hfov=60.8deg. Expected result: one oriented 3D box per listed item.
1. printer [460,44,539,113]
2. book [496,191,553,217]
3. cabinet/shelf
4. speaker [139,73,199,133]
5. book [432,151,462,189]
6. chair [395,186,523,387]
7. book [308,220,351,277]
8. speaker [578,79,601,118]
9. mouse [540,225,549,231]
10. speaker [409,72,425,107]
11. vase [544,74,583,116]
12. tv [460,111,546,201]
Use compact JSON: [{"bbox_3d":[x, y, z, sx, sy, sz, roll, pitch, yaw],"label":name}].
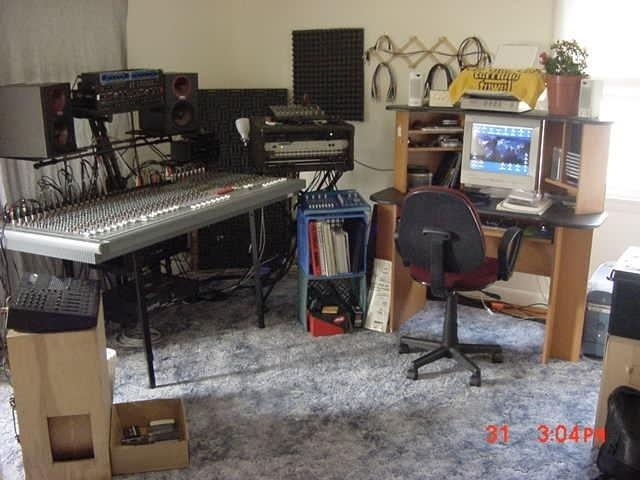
[{"bbox_3d":[1.342,-1.204,4.004,0.648,0.465,0.484,17,32,39],"label":"printer"},{"bbox_3d":[1.452,-0.268,3.877,0.258,0.071,0.250,11,33,32],"label":"book"},{"bbox_3d":[1.242,-0.100,4.144,1.582,1.669,0.891,8,13,26],"label":"cabinet/shelf"},{"bbox_3d":[-1.221,-1.140,4.479,0.406,0.462,0.431,7,20,11],"label":"speaker"},{"bbox_3d":[1.037,-0.572,4.412,0.060,0.260,0.251,12,12,-22],"label":"book"},{"bbox_3d":[0.951,0.282,3.827,0.823,1.300,0.795,2,13,17],"label":"chair"},{"bbox_3d":[0.075,0.060,4.252,0.330,0.425,0.159,-1,14,-3],"label":"book"},{"bbox_3d":[1.817,-0.957,3.666,0.159,0.243,0.165,-2,18,14],"label":"speaker"},{"bbox_3d":[1.619,-0.086,3.960,0.054,0.040,0.069,5,16,19],"label":"mouse"},{"bbox_3d":[0.750,-1.173,4.253,0.107,0.249,0.077,-1,14,0],"label":"speaker"},{"bbox_3d":[1.650,-0.977,3.734,0.247,0.308,0.265,-2,9,-3],"label":"vase"},{"bbox_3d":[1.315,-0.578,4.161,0.543,0.650,0.349,6,-8,0],"label":"tv"}]
